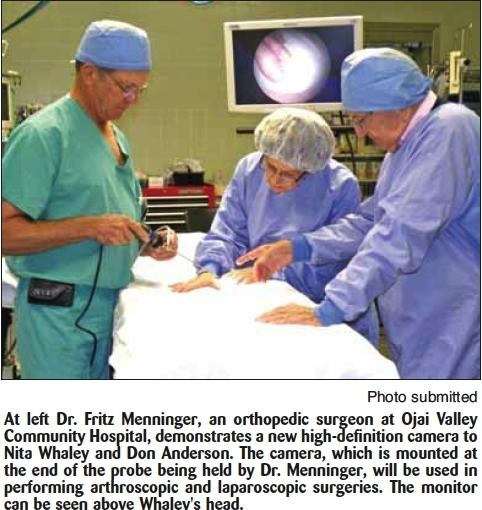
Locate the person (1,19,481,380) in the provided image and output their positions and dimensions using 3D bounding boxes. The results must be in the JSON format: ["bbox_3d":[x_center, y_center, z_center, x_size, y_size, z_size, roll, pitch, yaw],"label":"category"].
[{"bbox_3d":[0.129,-0.252,2.364,1.743,1.383,0.795,-1,7,-11],"label":"person"}]

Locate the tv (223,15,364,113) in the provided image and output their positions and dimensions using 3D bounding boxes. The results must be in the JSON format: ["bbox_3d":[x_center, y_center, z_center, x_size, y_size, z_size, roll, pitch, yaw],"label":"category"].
[{"bbox_3d":[0.268,-0.984,2.978,0.786,0.605,0.096,2,6,17],"label":"tv"}]

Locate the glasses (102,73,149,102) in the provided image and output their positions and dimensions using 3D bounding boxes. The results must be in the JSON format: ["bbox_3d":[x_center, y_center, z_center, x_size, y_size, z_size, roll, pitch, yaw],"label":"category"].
[{"bbox_3d":[-0.365,-0.488,1.716,0.079,0.024,0.076,46,26,11],"label":"glasses"}]
